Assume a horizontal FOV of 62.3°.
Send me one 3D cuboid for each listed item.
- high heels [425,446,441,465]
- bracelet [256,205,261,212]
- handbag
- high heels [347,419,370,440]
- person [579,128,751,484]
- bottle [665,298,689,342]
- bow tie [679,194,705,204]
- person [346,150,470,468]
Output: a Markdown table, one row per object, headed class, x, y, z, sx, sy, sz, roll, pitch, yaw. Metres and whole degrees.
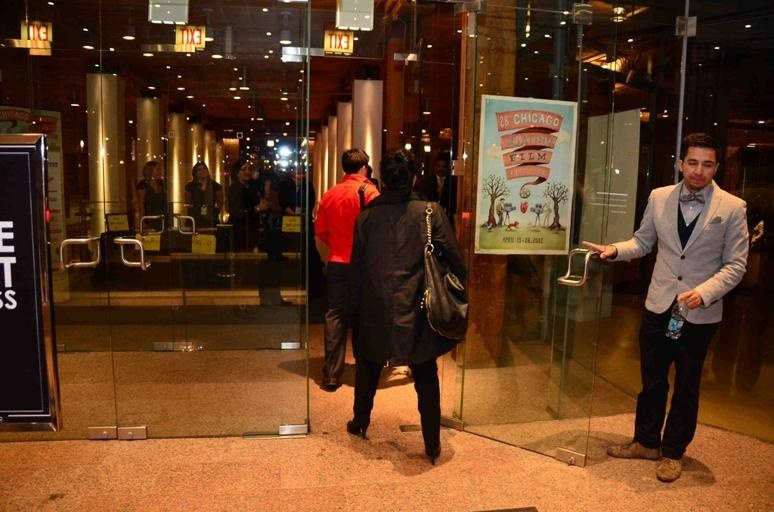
| class | x | y | z | sx | sy | sz | roll | pitch | yaw |
| --- | --- | --- | --- | --- | --- | --- | --- | --- | --- |
| high heels | 0.318 | 1.392 | 4.505 | 0.063 | 0.075 | 0.168 | 0 | 9 | 1 |
| bracelet | -0.994 | -0.361 | 4.889 | 0.026 | 0.041 | 0.007 | -1 | 9 | 1 |
| handbag | 0.353 | 0.267 | 4.310 | 0.227 | 0.444 | 0.423 | -20 | -29 | 19 |
| high heels | -0.241 | 1.280 | 4.823 | 0.078 | 0.111 | 0.236 | -5 | 20 | -30 |
| person | 2.031 | 0.341 | 4.515 | 0.708 | 2.356 | 0.713 | -7 | 11 | -34 |
| bottle | 1.972 | 0.436 | 4.376 | 0.118 | 0.320 | 0.246 | 3 | 10 | 24 |
| bow tie | 2.115 | -0.401 | 4.436 | 0.162 | 0.069 | 0.068 | 3 | 10 | 23 |
| person | 0.088 | 0.352 | 4.532 | 0.827 | 2.161 | 0.509 | 7 | 12 | 43 |
